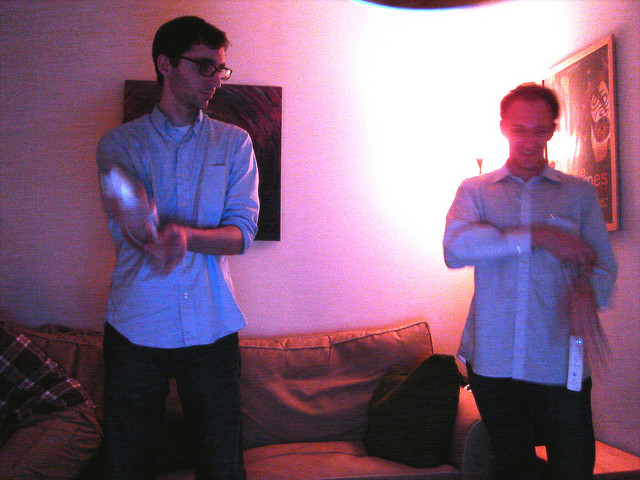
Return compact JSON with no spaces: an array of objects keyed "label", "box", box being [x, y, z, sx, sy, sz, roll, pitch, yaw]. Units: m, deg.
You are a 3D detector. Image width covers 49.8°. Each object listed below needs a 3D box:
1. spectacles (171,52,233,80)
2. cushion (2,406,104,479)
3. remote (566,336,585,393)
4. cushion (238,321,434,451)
[{"label":"spectacles","box":[-0.223,-0.347,1.368,0.070,0.015,0.070,20,10,38]},{"label":"cushion","box":[-0.734,0.536,1.919,0.284,0.082,0.391,19,0,-20]},{"label":"remote","box":[0.516,0.252,1.399,0.034,0.120,0.025,-1,8,9]},{"label":"cushion","box":[-0.054,0.520,2.517,0.535,0.140,0.794,-7,9,-8]}]
